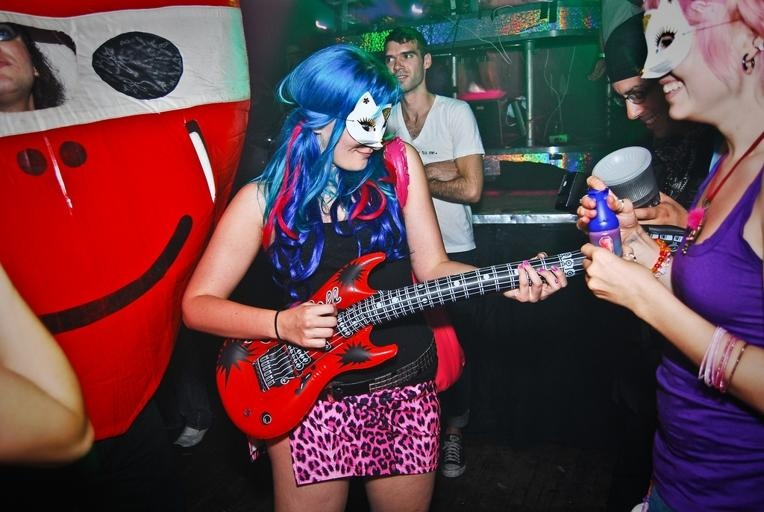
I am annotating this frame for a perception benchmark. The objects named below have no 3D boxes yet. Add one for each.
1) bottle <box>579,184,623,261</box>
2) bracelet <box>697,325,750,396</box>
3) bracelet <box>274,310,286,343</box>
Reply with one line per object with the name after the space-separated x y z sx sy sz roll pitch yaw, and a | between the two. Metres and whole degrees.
0.845 -0.119 2.041 0.098 0.281 0.103 -19 23 9 | bottle
1.116 0.343 1.827 0.077 0.169 0.193 14 72 31 | bracelet
-0.449 0.301 2.334 0.040 0.104 0.087 -10 26 -13 | bracelet
